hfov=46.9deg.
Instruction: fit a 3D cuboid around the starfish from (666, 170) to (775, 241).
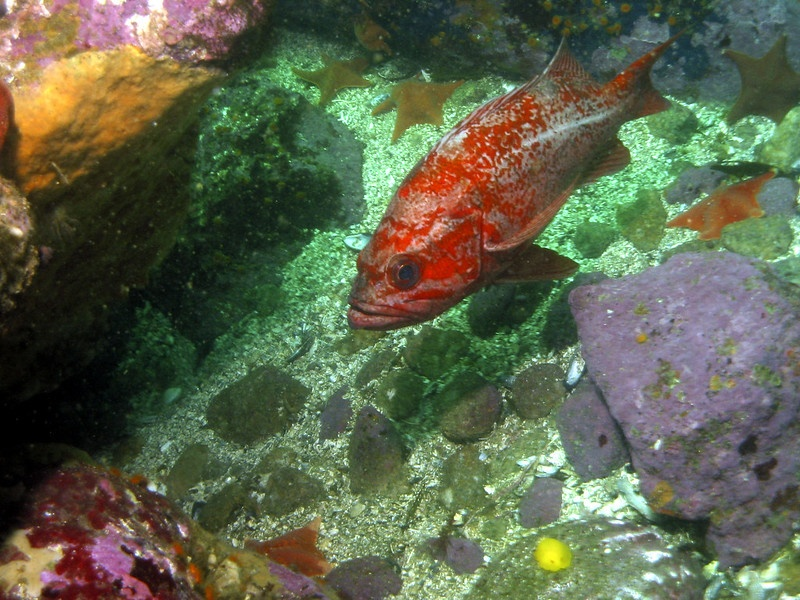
[{"bbox_3d":[2.618,-0.754,7.463,0.710,0.123,0.489,-35,56,4],"label":"starfish"}]
